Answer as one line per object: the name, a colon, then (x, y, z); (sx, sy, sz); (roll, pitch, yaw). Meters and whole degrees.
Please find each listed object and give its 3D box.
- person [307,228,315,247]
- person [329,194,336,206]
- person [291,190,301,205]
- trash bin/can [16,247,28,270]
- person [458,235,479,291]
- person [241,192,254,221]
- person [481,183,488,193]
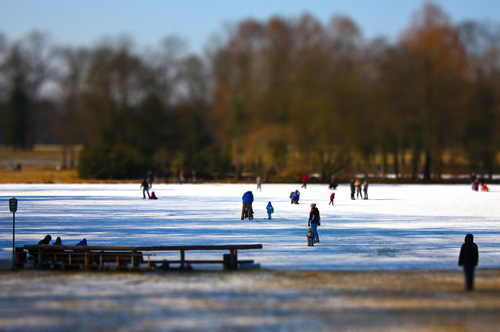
person: (3.925, 4.473, 74.959); (0.454, 1.138, 0.866); (1, 9, 3)
person: (6.496, 2.577, 91.599); (0.501, 0.871, 0.546); (-11, 22, -10)
person: (3.536, 2.419, 91.110); (0.679, 1.073, 1.233); (0, 9, -2)
trash bin/can: (-14.456, 5.641, 72.656); (0.980, 1.201, 0.944); (-4, -12, 13)
person: (13.197, 5.652, 69.690); (1.056, 3.248, 1.463); (2, 9, 12)
person: (-0.218, 2.706, 82.106); (0.875, 2.014, 0.929); (0, 9, -1)
person: (21.509, 1.946, 105.878); (0.713, 0.458, 0.987); (0, -4, 15)
